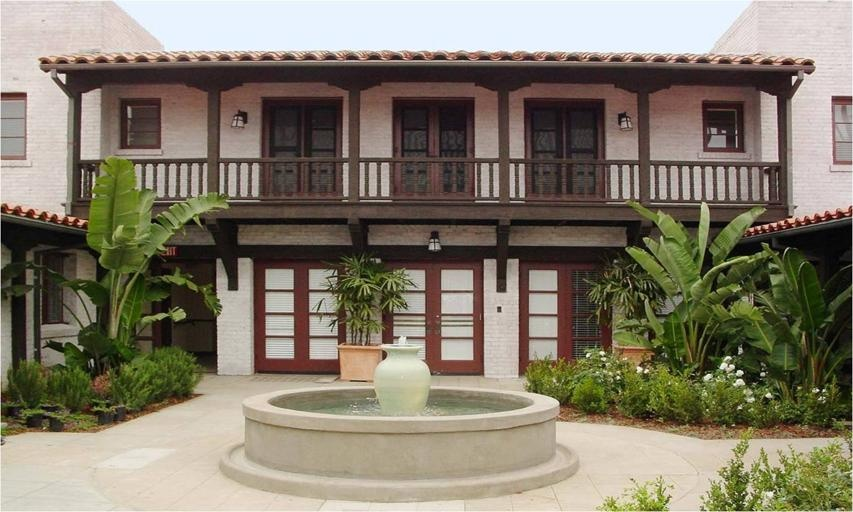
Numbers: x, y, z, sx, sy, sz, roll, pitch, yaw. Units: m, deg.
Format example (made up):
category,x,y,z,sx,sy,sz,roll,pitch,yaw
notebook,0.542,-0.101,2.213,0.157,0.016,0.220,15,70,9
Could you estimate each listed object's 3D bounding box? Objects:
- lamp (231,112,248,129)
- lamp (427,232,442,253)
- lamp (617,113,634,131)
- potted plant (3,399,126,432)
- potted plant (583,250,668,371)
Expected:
category,x,y,z,sx,sy,sz,roll,pitch,yaw
lamp,-4.931,-3.640,24.810,0.446,0.455,0.443,1,-13,10
lamp,0.253,-0.404,24.268,0.357,0.541,0.450,1,-5,-1
lamp,5.297,-3.596,24.641,0.418,0.468,0.284,0,-5,6
potted plant,-7.712,3.364,19.738,2.497,0.575,0.818,2,-5,-16
potted plant,5.476,1.338,23.912,2.028,2.714,2.024,-2,-1,18
